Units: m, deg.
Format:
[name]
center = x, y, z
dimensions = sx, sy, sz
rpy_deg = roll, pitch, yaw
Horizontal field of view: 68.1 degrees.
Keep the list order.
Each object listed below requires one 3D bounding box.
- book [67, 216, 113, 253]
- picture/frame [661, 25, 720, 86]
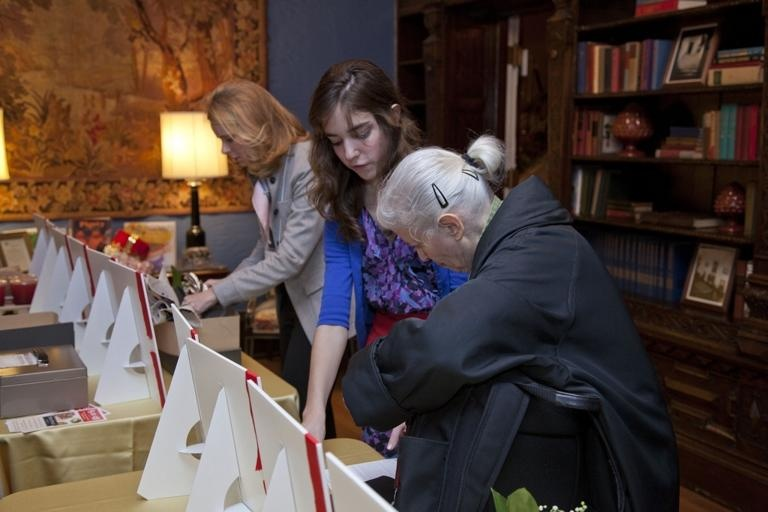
[book]
center = -2.092, -0.146, 4.050
dimensions = 0.322, 0.344, 0.179
rpy_deg = 0, -2, -11
[picture/frame]
center = 1.856, -1.215, 3.449
dimensions = 0.277, 0.366, 0.167
rpy_deg = 3, 9, 32
